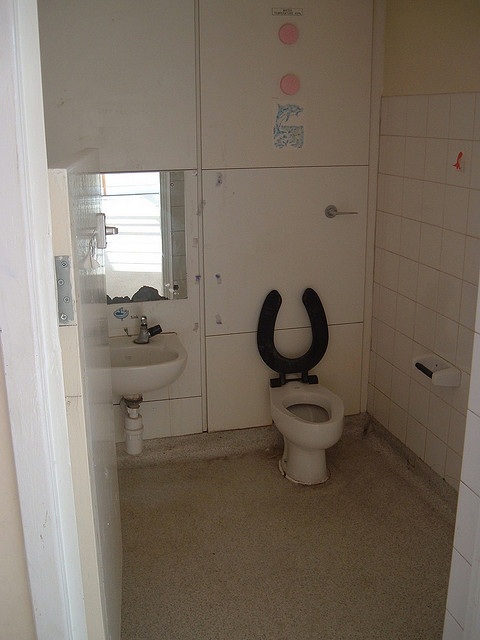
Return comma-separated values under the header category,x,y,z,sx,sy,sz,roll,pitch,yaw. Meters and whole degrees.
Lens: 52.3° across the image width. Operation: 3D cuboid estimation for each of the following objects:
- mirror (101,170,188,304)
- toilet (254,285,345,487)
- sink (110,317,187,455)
category,x,y,z,sx,sy,sz,roll,pitch,yaw
mirror,-0.580,-0.433,2.788,0.508,1.059,0.017,2,45,-8
toilet,0.347,0.397,2.887,0.484,1.067,0.649,-4,17,-2
sink,-0.590,0.408,2.774,0.499,0.779,0.528,-2,14,-32
